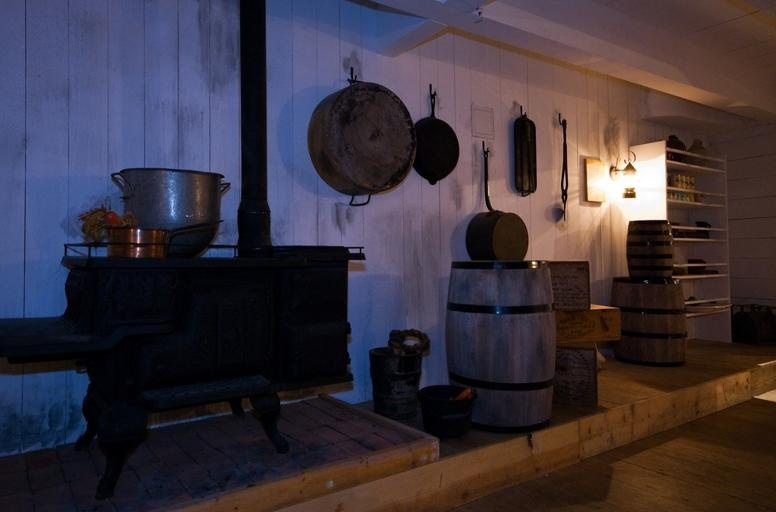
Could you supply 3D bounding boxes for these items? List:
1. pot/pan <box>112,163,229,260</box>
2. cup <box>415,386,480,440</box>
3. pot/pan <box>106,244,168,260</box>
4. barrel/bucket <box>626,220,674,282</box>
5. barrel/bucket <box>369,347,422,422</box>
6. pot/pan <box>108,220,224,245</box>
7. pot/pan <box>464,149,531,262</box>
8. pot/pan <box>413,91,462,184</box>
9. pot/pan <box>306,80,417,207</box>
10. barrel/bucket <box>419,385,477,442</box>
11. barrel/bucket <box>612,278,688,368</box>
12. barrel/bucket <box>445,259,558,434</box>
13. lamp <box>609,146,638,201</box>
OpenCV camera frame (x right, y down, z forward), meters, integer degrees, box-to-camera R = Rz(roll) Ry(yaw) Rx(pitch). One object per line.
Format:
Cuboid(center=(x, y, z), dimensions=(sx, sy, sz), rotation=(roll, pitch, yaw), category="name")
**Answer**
Cuboid(center=(-1.371, -0.237, 3.786), dimensions=(0.666, 0.476, 0.742), rotation=(-4, 0, 27), category="pot/pan")
Cuboid(center=(0.404, 1.083, 4.087), dimensions=(0.374, 0.262, 0.355), rotation=(-3, -8, 0), category="cup")
Cuboid(center=(-1.383, -0.027, 3.319), dimensions=(0.292, 0.079, 0.094), rotation=(-3, 4, -22), category="pot/pan")
Cuboid(center=(2.531, -0.052, 5.835), dimensions=(0.429, 0.559, 0.415), rotation=(-1, -2, 0), category="barrel/bucket")
Cuboid(center=(0.061, 0.909, 4.331), dimensions=(0.401, 0.422, 0.393), rotation=(0, -2, 0), category="barrel/bucket")
Cuboid(center=(-1.291, -0.094, 3.413), dimensions=(0.390, 0.137, 0.212), rotation=(3, -8, -32), category="pot/pan")
Cuboid(center=(0.883, -0.449, 5.004), dimensions=(0.450, 0.980, 0.304), rotation=(-4, 4, -38), category="pot/pan")
Cuboid(center=(0.390, -0.906, 4.785), dimensions=(0.437, 0.694, 0.081), rotation=(0, 1, -40), category="pot/pan")
Cuboid(center=(-0.174, -0.834, 4.370), dimensions=(0.781, 0.772, 0.216), rotation=(-3, 3, -26), category="pot/pan")
Cuboid(center=(0.374, 1.032, 4.045), dimensions=(0.354, 0.245, 0.317), rotation=(1, -3, -22), category="barrel/bucket")
Cuboid(center=(2.432, 0.637, 5.830), dimensions=(0.736, 0.736, 0.712), rotation=(3, -3, 0), category="barrel/bucket")
Cuboid(center=(0.725, 0.659, 4.397), dimensions=(0.827, 1.093, 0.824), rotation=(2, -5, 0), category="barrel/bucket")
Cuboid(center=(2.411, -0.838, 6.142), dimensions=(0.213, 0.424, 0.160), rotation=(3, -3, 4), category="lamp")
